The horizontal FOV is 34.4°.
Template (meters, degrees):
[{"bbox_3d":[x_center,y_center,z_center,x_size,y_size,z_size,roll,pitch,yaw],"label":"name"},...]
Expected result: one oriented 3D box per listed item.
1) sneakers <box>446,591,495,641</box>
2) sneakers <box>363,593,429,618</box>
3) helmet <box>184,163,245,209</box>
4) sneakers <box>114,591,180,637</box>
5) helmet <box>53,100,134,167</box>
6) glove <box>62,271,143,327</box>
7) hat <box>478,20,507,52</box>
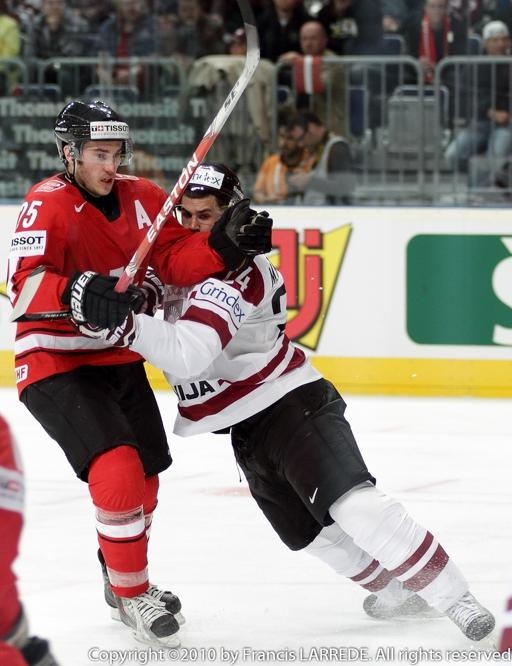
[{"bbox_3d":[0.472,0.633,1.873,0.062,0.055,0.153,40,2,-3],"label":"sneakers"},{"bbox_3d":[0.348,0.696,2.116,0.187,0.067,0.058,-5,-8,10],"label":"sneakers"},{"bbox_3d":[-0.111,-0.369,2.112,0.137,0.128,0.163,13,22,18],"label":"helmet"},{"bbox_3d":[-0.261,0.673,2.023,0.074,0.073,0.190,-27,18,-37],"label":"sneakers"},{"bbox_3d":[-0.409,-0.494,2.063,0.169,0.163,0.194,-8,21,-30],"label":"helmet"},{"bbox_3d":[-0.358,-0.067,1.801,0.222,0.125,0.106,4,7,40],"label":"glove"},{"bbox_3d":[1.316,-1.625,4.558,0.149,0.156,0.169,-2,-11,3],"label":"hat"}]
